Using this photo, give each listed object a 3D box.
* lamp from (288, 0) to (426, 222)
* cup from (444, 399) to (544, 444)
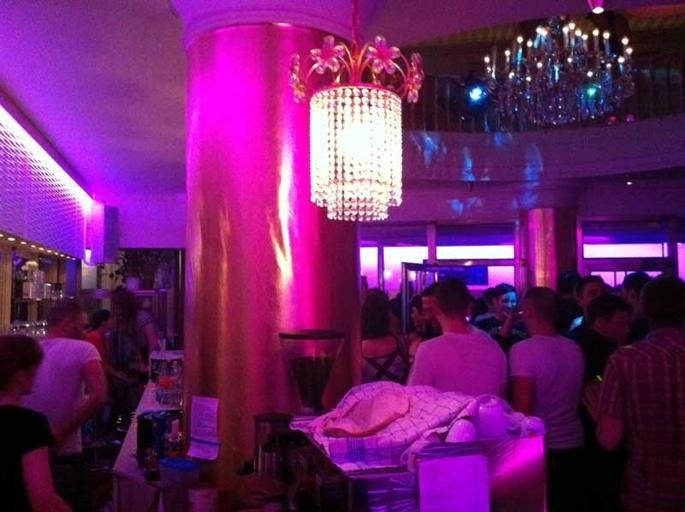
[{"bbox_3d":[0.077,-0.944,3.654,0.709,1.538,0.991,-1,-4,-1],"label":"lamp"},{"bbox_3d":[0.697,0.771,2.894,0.303,0.156,0.236,-3,-10,13],"label":"cup"}]
